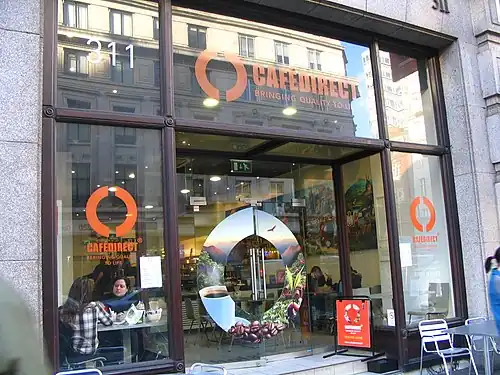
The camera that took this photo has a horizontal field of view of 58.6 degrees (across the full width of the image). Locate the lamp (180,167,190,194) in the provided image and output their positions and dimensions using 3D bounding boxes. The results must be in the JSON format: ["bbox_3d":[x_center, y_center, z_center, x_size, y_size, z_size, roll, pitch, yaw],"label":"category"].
[{"bbox_3d":[-1.283,-0.133,8.758,0.215,0.520,0.142,-3,-10,-14],"label":"lamp"}]

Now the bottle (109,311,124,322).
[{"bbox_3d":[-1.773,1.713,5.949,0.163,0.113,0.144,-1,-19,15],"label":"bottle"}]

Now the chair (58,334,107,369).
[{"bbox_3d":[-2.113,2.066,5.704,0.501,0.688,0.403,-1,-8,-12],"label":"chair"}]

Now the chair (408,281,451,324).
[{"bbox_3d":[3.338,2.255,8.364,0.643,1.020,0.567,-1,-8,-15],"label":"chair"}]

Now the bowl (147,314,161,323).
[{"bbox_3d":[-1.308,1.759,6.054,0.141,0.092,0.121,4,-14,-23],"label":"bowl"}]

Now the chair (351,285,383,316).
[{"bbox_3d":[2.346,2.188,8.777,0.475,0.671,0.419,-12,-15,29],"label":"chair"}]

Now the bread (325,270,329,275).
[{"bbox_3d":[1.629,1.811,9.517,0.105,0.097,0.026,0,-5,18],"label":"bread"}]
